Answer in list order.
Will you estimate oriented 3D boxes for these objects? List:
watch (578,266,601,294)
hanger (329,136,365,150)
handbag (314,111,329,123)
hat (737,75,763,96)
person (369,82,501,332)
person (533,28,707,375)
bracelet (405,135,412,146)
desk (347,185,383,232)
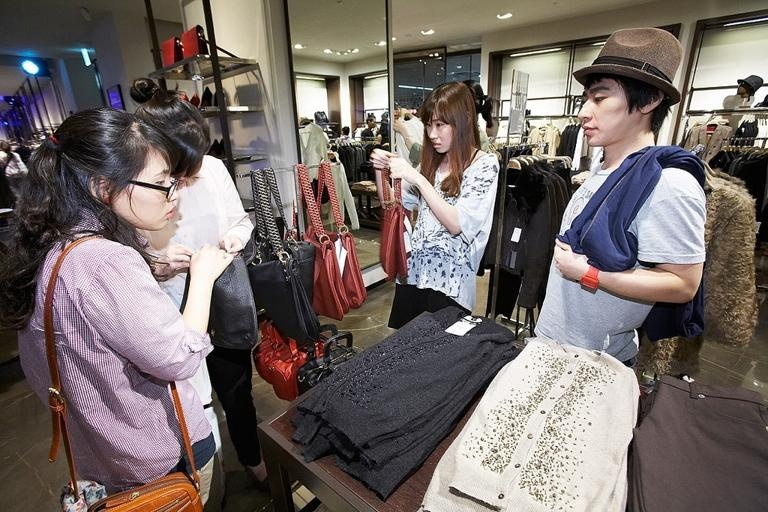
[{"bbox_3d":[0.820,0.086,1.808,0.070,0.110,0.105,25,28,37],"label":"watch"},{"bbox_3d":[-0.355,-1.083,4.257,0.361,0.133,0.105,-19,33,-38],"label":"hanger"},{"bbox_3d":[-0.554,-1.222,3.894,0.059,0.108,0.116,-2,20,30],"label":"handbag"},{"bbox_3d":[4.401,-2.046,5.310,0.240,0.217,0.430,13,23,37],"label":"hat"},{"bbox_3d":[0.315,-0.229,2.416,0.525,1.335,0.371,9,22,31],"label":"person"},{"bbox_3d":[1.003,-0.197,1.793,0.603,1.357,0.450,10,22,32],"label":"person"},{"bbox_3d":[0.208,-0.977,3.757,0.076,0.076,0.056,7,10,1],"label":"bracelet"},{"bbox_3d":[-0.214,-0.596,5.047,0.386,0.470,0.722,-9,13,-12],"label":"desk"}]
